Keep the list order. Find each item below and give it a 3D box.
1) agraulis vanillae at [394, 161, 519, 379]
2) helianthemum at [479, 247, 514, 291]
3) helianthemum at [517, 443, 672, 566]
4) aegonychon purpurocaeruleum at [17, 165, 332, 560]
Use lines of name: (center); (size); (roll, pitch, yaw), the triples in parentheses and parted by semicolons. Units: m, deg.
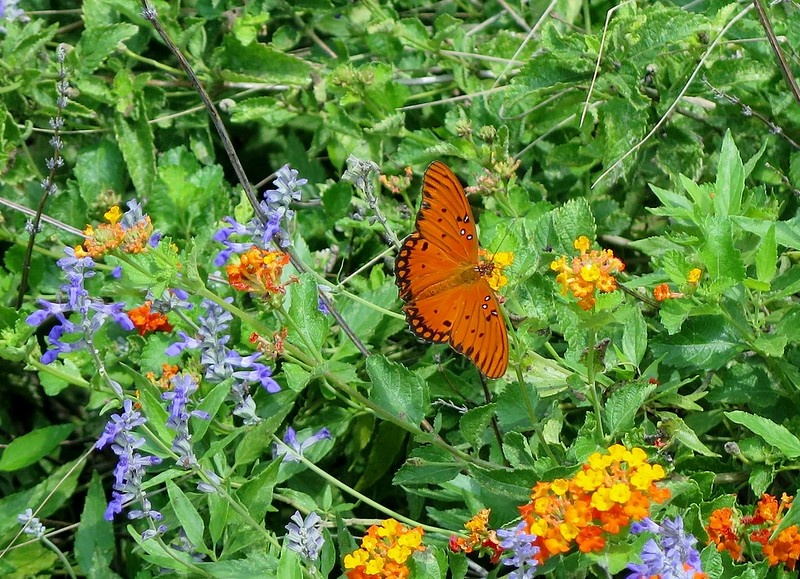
agraulis vanillae: (0.131, -0.029, 2.468); (0.275, 0.423, 0.441); (-10, 49, 0)
helianthemum: (0.253, -0.059, 2.446); (0.093, 0.108, 0.046); (14, 29, 34)
helianthemum: (0.483, 0.552, 2.278); (0.360, 0.255, 0.205); (-18, 49, -6)
aegonychon purpurocaeruleum: (-0.583, 0.159, 2.513); (0.515, 1.565, 0.672); (5, 21, 33)
